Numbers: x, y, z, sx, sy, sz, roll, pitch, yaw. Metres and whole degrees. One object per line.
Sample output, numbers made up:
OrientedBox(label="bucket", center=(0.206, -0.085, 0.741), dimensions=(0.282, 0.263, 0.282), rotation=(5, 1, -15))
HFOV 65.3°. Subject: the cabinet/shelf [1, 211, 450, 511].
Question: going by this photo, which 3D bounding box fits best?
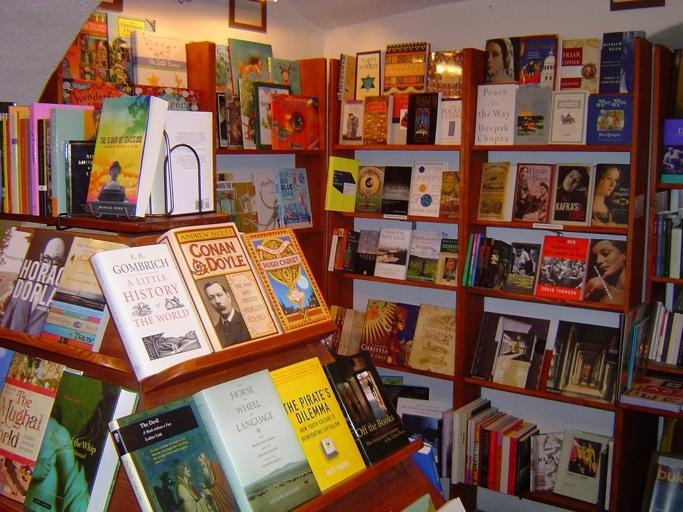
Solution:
OrientedBox(label="cabinet/shelf", center=(-0.423, 0.428, 1.779), dimensions=(1.539, 1.075, 0.686), rotation=(2, 13, 10))
